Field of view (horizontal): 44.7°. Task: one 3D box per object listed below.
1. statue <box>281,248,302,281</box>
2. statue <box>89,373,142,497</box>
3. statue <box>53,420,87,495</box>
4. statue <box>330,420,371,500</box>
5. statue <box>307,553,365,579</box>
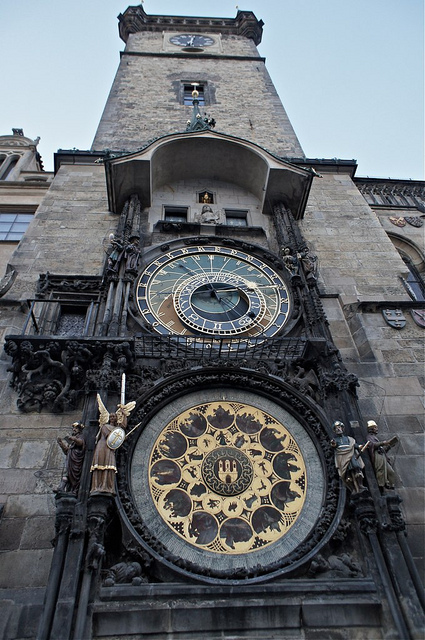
[{"bbox_3d":[2.296,-1.625,15.222,0.326,1.552,0.291,-4,-44,-3],"label":"statue"},{"bbox_3d":[-1.811,1.988,9.427,0.677,2.549,0.443,11,-47,-18],"label":"statue"},{"bbox_3d":[-2.495,2.412,9.141,0.498,1.519,0.420,5,-45,-12],"label":"statue"},{"bbox_3d":[2.514,2.532,9.453,0.577,1.484,0.424,-9,-44,1],"label":"statue"},{"bbox_3d":[1.969,3.947,8.260,0.586,0.552,0.409,-7,-21,4],"label":"statue"}]
